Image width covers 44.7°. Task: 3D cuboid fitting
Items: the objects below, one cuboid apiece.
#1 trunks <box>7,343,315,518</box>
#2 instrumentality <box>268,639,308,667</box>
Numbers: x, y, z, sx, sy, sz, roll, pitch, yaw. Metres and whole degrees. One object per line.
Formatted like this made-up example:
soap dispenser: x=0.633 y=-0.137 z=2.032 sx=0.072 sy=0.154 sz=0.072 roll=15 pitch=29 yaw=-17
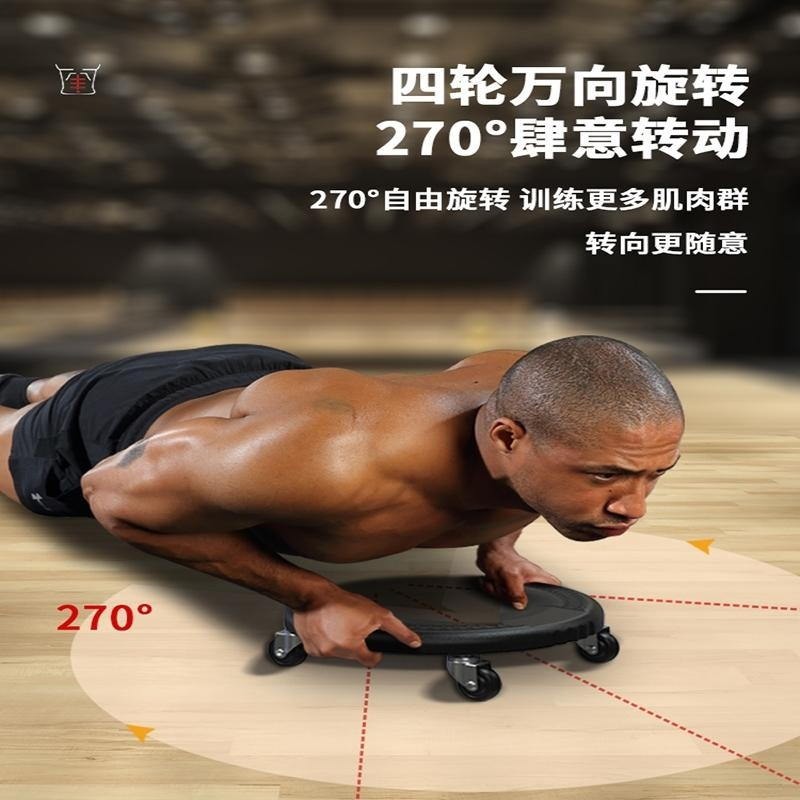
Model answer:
trunks: x=-0.551 y=0.077 z=2.046 sx=0.676 sy=0.138 sz=0.381 roll=-7 pitch=17 yaw=33
instrumentality: x=-0.186 y=0.395 z=1.535 sx=0.063 sy=0.009 sz=0.048 roll=4 pitch=10 yaw=10
